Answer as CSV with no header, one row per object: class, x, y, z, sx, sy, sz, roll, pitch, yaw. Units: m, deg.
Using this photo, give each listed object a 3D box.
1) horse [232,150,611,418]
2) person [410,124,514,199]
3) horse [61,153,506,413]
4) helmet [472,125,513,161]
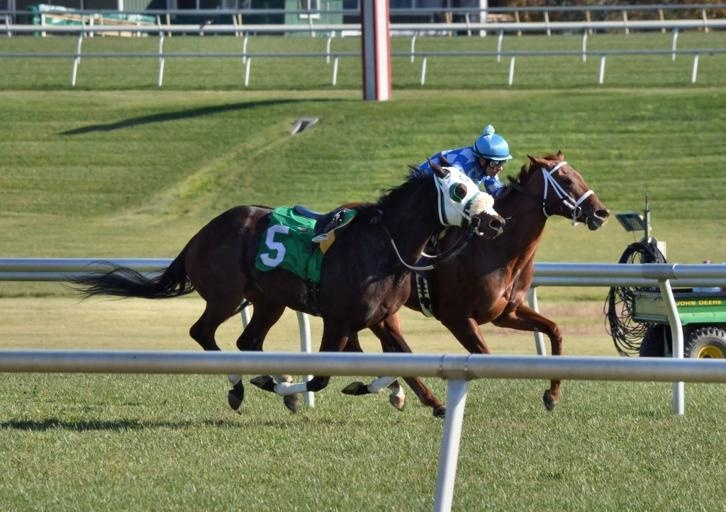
horse,1.002,0.384,19.526,1.182,2.899,4.520,12,-10,-34
person,1.133,-1.055,18.991,1.279,0.745,0.602,2,0,33
horse,-1.096,0.362,18.969,5.516,2.911,1.226,6,2,29
helmet,1.481,-1.320,18.792,0.423,0.367,0.532,-9,22,-38
